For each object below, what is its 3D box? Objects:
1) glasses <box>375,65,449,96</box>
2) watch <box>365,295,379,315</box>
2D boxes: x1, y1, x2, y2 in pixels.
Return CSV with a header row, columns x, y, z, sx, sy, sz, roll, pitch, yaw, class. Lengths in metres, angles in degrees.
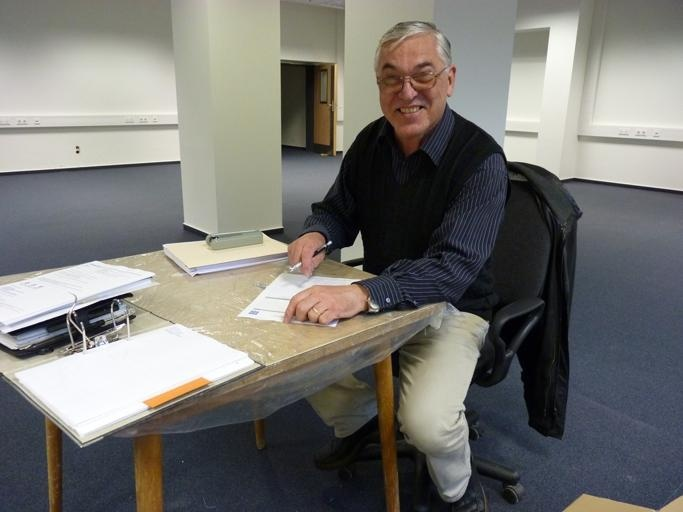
x,y,z,sx,sy,sz,roll,pitch,yaw,class
0.254,-0.639,1.706,0.242,0.095,0.096,0,18,-2,glasses
0.079,0.149,1.394,0.044,0.054,0.035,-11,-21,-16,watch
